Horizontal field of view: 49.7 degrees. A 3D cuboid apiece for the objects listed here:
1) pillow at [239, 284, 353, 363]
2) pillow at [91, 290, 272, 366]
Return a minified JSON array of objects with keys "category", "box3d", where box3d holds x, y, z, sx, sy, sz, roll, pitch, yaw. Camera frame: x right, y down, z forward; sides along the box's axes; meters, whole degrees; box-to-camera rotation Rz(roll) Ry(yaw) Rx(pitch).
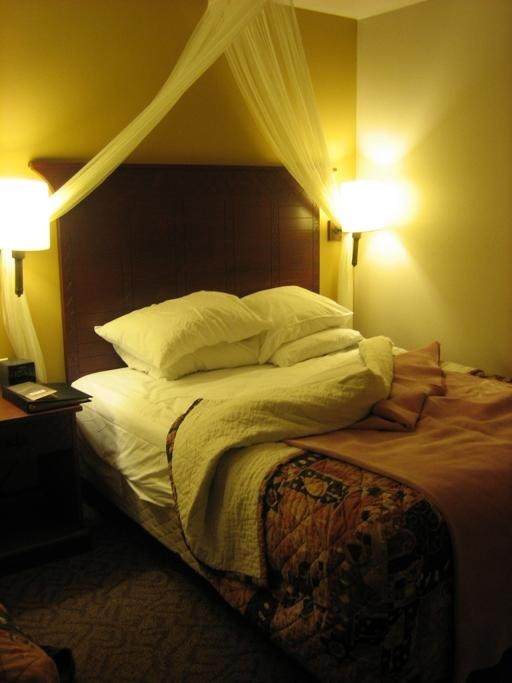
[{"category":"pillow","box3d":[0.232,-0.146,2.906,0.476,0.137,0.416,-21,38,-38]},{"category":"pillow","box3d":[-0.293,-0.087,2.567,0.557,0.163,0.406,-18,36,-30]}]
